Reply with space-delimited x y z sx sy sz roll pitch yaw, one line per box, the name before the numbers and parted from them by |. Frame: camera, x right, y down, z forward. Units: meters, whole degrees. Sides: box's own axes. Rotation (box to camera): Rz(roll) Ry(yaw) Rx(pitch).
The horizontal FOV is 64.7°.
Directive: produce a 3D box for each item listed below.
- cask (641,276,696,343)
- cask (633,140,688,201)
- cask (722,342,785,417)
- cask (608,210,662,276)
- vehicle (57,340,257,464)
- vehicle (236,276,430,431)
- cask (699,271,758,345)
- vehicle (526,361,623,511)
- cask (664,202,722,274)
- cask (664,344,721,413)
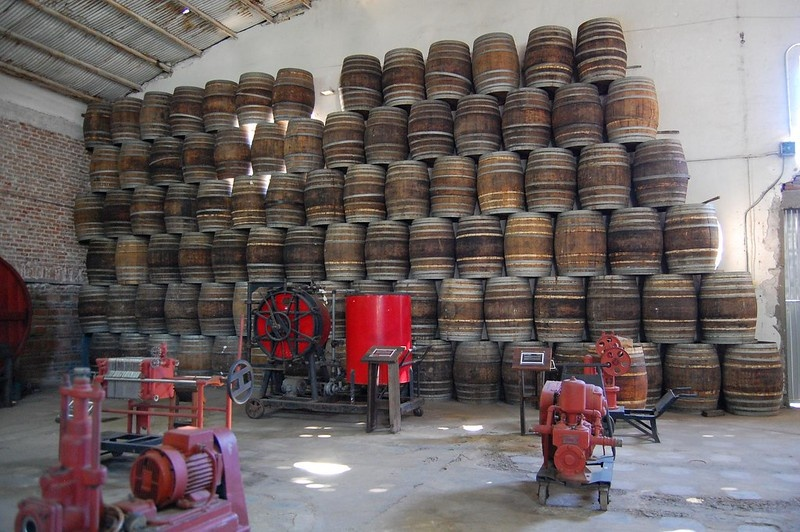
cask | 4.557 0.716 10.769 0.884 1.111 0.919 -3 -3 22
cask | 4.506 -1.647 11.035 0.904 1.033 0.828 -3 -4 -2
cask | 5.724 1.805 10.413 0.934 1.134 0.876 -1 -6 29
cask | 4.048 -0.430 10.971 1.305 1.100 1.259 -1 -1 10
vehicle | -3.022 1.796 8.658 2.853 1.794 1.457 0 -4 11
vehicle | -1.222 1.427 10.374 3.022 2.097 1.490 0 -5 8
cask | 5.459 0.682 10.595 0.934 1.133 0.893 -3 -4 6
vehicle | 2.092 1.915 7.402 0.929 1.321 1.330 2 7 19
cask | 4.917 -0.463 10.786 0.930 1.090 0.873 -1 -1 -29
cask | 4.966 1.861 10.531 0.904 1.096 0.898 2 -5 -20
